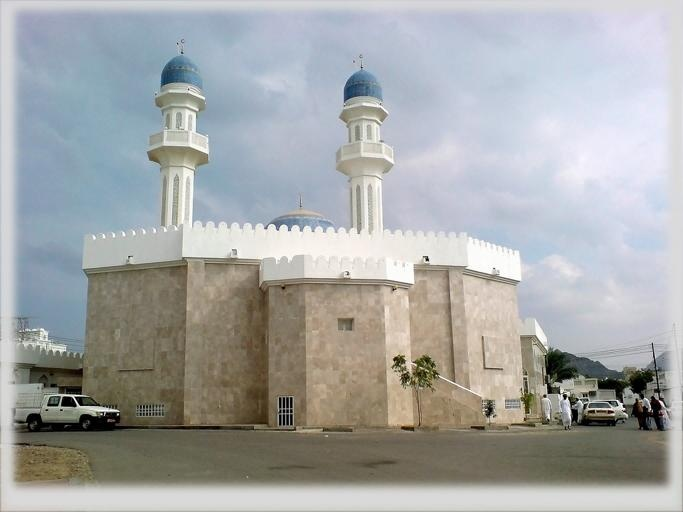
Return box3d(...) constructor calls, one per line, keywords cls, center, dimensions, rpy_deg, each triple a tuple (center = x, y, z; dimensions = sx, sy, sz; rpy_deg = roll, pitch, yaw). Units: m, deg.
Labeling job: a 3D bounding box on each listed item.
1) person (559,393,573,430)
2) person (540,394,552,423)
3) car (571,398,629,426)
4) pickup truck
box3d(cls="person", center=(8.742, 6.052, 27.470), dimensions=(0.326, 1.346, 2.004), rpy_deg=(-4, -13, 16))
box3d(cls="person", center=(9.319, 7.030, 32.002), dimensions=(0.287, 1.161, 1.251), rpy_deg=(-3, -13, 11))
box3d(cls="car", center=(11.697, 7.181, 32.608), dimensions=(1.288, 0.986, 3.056), rpy_deg=(-2, -9, 9))
box3d(cls="pickup truck", center=(-9.805, 5.602, 25.126), dimensions=(3.282, 1.292, 1.618), rpy_deg=(-4, -14, 9))
